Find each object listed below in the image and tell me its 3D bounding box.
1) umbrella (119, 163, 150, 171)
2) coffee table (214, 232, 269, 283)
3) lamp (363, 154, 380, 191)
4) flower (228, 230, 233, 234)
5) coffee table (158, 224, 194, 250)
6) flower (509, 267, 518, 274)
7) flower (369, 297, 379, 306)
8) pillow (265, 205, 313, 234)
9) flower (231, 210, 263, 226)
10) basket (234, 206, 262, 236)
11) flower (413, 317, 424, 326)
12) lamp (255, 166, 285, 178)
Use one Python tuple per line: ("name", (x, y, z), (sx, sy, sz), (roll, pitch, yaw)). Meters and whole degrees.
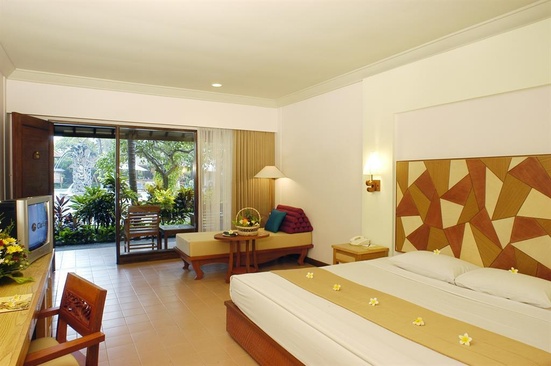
("umbrella", (-3.287, -0.370, 8.033), (0.608, 0.188, 0.087), (-1, 12, 4))
("coffee table", (-0.596, 1.217, 5.986), (0.803, 0.591, 0.803), (0, -3, -14))
("lamp", (1.494, -0.154, 5.284), (0.220, 0.614, 0.321), (0, 12, 6))
("flower", (-0.756, 0.819, 5.803), (0.056, 0.027, 0.056), (-22, -19, 25))
("coffee table", (-2.089, 1.080, 7.240), (0.587, 0.540, 0.585), (1, 5, -23))
("flower", (2.618, 0.958, 3.774), (0.065, 0.048, 0.084), (-16, -2, -1))
("flower", (0.955, 1.139, 3.330), (0.068, 0.019, 0.069), (-5, 1, 28))
("pillow", (0.275, 0.736, 6.631), (0.530, 0.361, 0.710), (2, -4, -31))
("flower", (-0.473, 0.594, 6.194), (0.389, 0.279, 0.434), (-3, -10, 24))
("basket", (-0.462, 0.639, 5.941), (0.538, 0.441, 0.538), (-2, 2, -6))
("flower", (1.253, 1.209, 3.026), (0.064, 0.038, 0.074), (-8, -4, -2))
("lamp", (-0.125, -0.224, 7.105), (0.643, 0.247, 0.327), (-1, 12, 4))
